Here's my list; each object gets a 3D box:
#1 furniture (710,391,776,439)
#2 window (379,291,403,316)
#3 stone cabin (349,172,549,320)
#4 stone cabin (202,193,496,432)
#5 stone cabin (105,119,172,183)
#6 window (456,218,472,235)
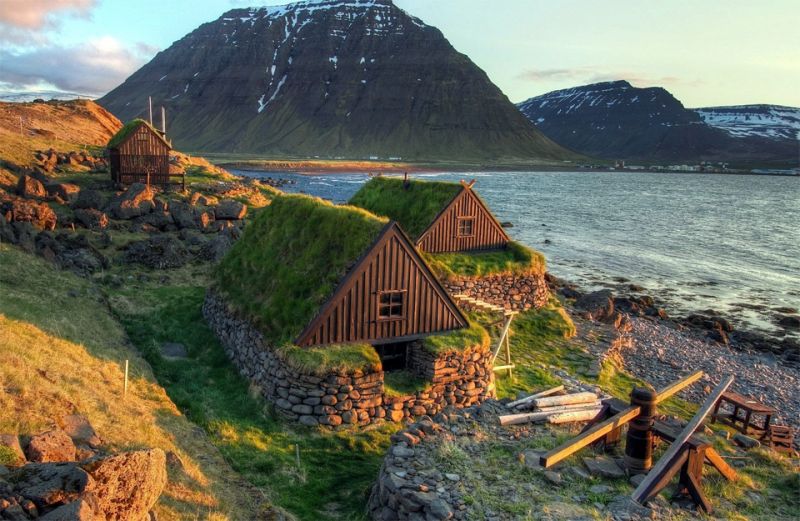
[{"bbox_3d":[21.331,9.915,38.295,2.846,2.350,3.710,2,0,-5],"label":"furniture"},{"bbox_3d":[-0.554,2.319,34.256,1.254,1.245,0.171,-3,-1,-23],"label":"window"},{"bbox_3d":[3.279,-1.626,53.026,9.405,6.956,15.608,-4,11,-26],"label":"stone cabin"},{"bbox_3d":[-5.322,2.098,38.350,10.308,8.086,16.242,-6,12,-31],"label":"stone cabin"},{"bbox_3d":[-28.622,-13.006,72.964,7.554,7.301,7.001,5,11,23],"label":"stone cabin"},{"bbox_3d":[5.027,-2.736,48.829,1.283,1.285,0.108,-1,6,-33],"label":"window"}]
